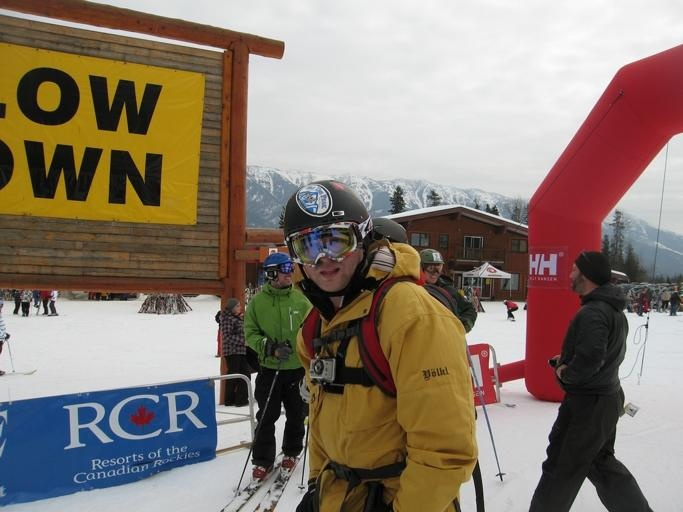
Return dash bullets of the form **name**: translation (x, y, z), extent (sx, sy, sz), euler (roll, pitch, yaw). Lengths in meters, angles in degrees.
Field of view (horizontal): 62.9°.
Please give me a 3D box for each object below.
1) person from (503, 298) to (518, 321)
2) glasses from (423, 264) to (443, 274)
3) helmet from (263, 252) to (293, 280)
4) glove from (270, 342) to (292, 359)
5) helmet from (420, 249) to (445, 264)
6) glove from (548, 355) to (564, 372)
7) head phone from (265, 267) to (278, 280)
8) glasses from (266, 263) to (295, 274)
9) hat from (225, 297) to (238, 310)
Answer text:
- **person**: translation (8.048, 2.559, 26.433), extent (0.384, 0.873, 2.509), euler (1, 2, 17)
- **glasses**: translation (1.285, 0.169, 7.832), extent (0.173, 0.103, 0.147), euler (-8, 4, 2)
- **helmet**: translation (-0.872, 0.126, 7.872), extent (0.437, 0.392, 0.368), euler (-5, 0, 9)
- **glove**: translation (-0.777, 1.223, 7.274), extent (0.223, 0.190, 0.216), euler (-6, -10, 37)
- **helmet**: translation (1.276, 0.006, 7.904), extent (0.291, 0.309, 0.237), euler (4, 2, 22)
- **glove**: translation (2.469, 1.210, 6.343), extent (0.059, 0.219, 0.210), euler (16, -16, -2)
- **head phone**: translation (-0.953, 0.245, 7.773), extent (0.164, 0.136, 0.154), euler (-13, 17, 26)
- **glasses**: translation (-0.836, 0.171, 7.686), extent (0.260, 0.102, 0.214), euler (-2, -1, 5)
- **hat**: translation (-2.028, 0.892, 10.390), extent (0.196, 0.219, 0.159), euler (5, 1, 7)
